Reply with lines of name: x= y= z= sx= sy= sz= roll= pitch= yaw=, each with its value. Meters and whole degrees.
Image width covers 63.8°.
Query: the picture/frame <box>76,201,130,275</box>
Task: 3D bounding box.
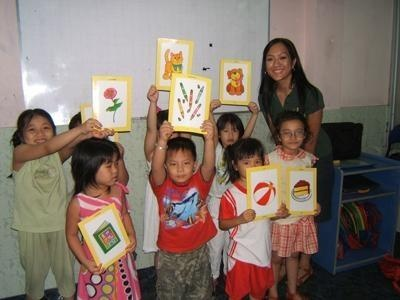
picture/frame: x=-0.618 y=0.565 z=2.035 sx=0.335 sy=0.401 sz=0.044 roll=-35 pitch=18 yaw=-33

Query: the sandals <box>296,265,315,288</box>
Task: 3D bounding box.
sandals: x=0.916 y=1.107 z=2.848 sx=0.216 sy=0.087 sz=0.072 roll=-30 pitch=29 yaw=-36

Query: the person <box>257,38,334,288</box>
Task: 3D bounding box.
person: x=0.796 y=0.045 z=2.747 sx=0.474 sy=1.895 sz=0.488 roll=-2 pitch=13 yaw=24

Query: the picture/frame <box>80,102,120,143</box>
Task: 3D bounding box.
picture/frame: x=-0.713 y=-0.197 z=2.302 sx=0.249 sy=0.360 sz=0.022 roll=-6 pitch=5 yaw=-22

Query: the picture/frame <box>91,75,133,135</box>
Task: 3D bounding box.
picture/frame: x=-0.641 y=-0.326 z=2.330 sx=0.383 sy=0.567 sz=0.024 roll=-3 pitch=9 yaw=-18

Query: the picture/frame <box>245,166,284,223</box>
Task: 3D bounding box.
picture/frame: x=0.427 y=0.302 z=2.232 sx=0.349 sy=0.521 sz=0.025 roll=-3 pitch=3 yaw=-19
